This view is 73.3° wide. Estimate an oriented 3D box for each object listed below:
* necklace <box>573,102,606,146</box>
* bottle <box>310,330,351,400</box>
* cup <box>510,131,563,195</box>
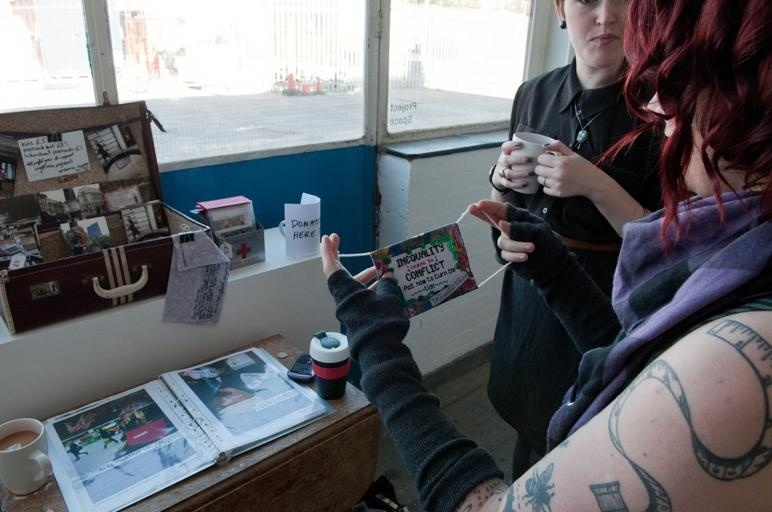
[{"bbox_3d":[0.677,-0.432,1.710,0.011,0.144,0.121,-6,22,-40],"label":"necklace"},{"bbox_3d":[-0.170,0.339,1.599,0.130,0.177,0.125,1,18,0],"label":"bottle"},{"bbox_3d":[0.488,-0.315,1.753,0.161,0.193,0.193,-12,26,-31],"label":"cup"}]
